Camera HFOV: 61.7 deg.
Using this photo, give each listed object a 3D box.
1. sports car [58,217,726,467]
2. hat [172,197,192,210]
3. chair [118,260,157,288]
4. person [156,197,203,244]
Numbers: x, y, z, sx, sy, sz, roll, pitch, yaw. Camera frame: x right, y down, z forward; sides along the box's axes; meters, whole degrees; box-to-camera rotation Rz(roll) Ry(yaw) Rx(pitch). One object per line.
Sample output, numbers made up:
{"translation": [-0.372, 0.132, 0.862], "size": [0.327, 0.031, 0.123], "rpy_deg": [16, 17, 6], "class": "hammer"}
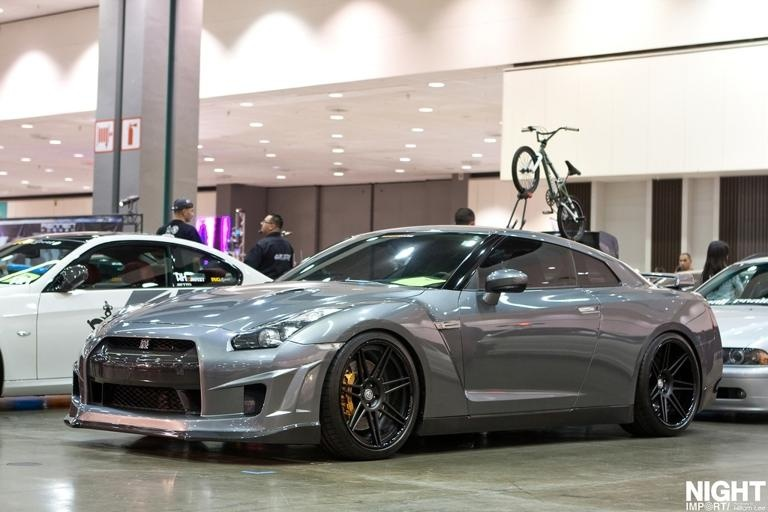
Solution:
{"translation": [0.313, 0.552, 4.579], "size": [4.328, 1.589, 0.914], "rpy_deg": [4, -7, -24], "class": "sports car"}
{"translation": [-3.064, -0.792, 9.856], "size": [0.309, 0.130, 0.209], "rpy_deg": [-9, 9, -26], "class": "hat"}
{"translation": [-2.344, 0.162, 6.169], "size": [0.238, 0.250, 0.297], "rpy_deg": [-3, 1, 28], "class": "chair"}
{"translation": [-3.089, -0.559, 9.774], "size": [1.033, 0.607, 0.473], "rpy_deg": [9, 18, 36], "class": "person"}
